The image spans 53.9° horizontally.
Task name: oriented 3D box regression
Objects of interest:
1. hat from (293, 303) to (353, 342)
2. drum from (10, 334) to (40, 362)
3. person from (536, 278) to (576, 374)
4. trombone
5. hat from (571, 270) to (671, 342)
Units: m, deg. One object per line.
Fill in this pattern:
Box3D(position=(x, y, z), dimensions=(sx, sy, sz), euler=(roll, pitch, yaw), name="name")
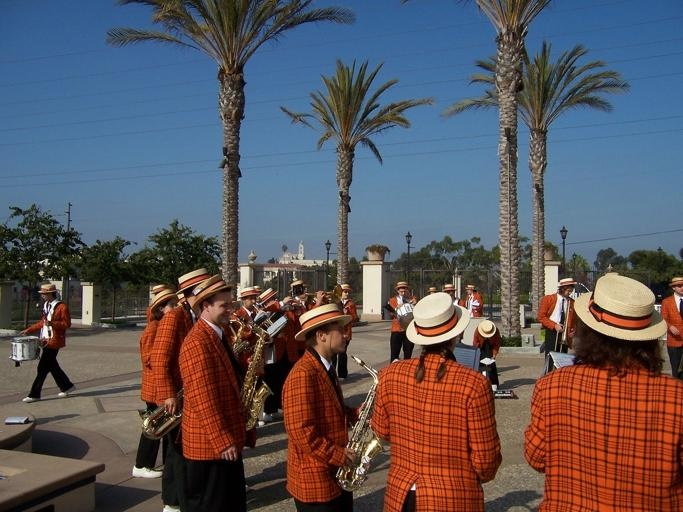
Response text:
Box3D(position=(-0.174, 0.605, 6.088), dimensions=(0.490, 0.327, 0.296), euler=(-2, -2, -7), name="hat")
Box3D(position=(-5.851, 1.726, 12.429), dimensions=(0.462, 0.393, 0.501), euler=(0, -4, 0), name="drum")
Box3D(position=(4.045, 1.339, 12.802), dimensions=(0.752, 2.405, 0.672), euler=(0, 0, 23), name="person")
Box3D(position=(-1.425, 1.363, 6.718), dimensions=(1.245, 0.554, 0.446), euler=(-48, 38, -19), name="trombone")
Box3D(position=(2.026, 0.387, 4.844), dimensions=(0.198, 0.400, 0.900), euler=(1, -1, -43), name="hat")
